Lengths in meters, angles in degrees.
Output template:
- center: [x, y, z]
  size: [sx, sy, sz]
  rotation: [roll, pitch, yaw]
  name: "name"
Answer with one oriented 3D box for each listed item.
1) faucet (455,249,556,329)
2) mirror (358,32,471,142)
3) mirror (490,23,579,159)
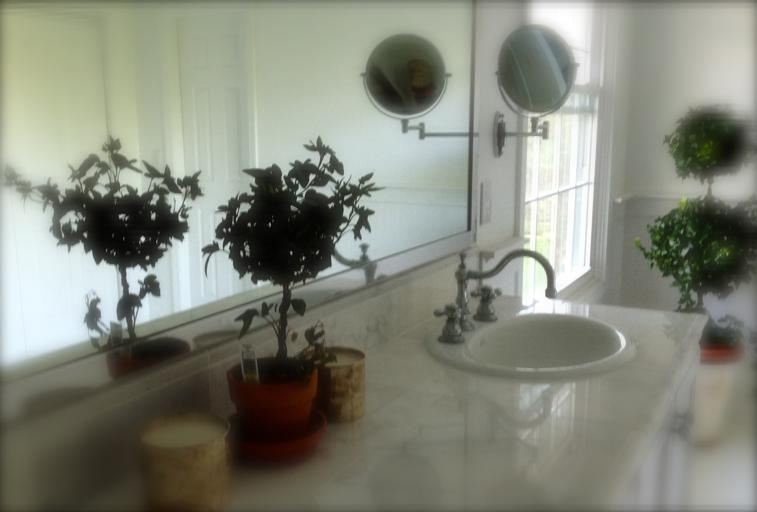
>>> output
- center: [0.316, 0.084, 1.517]
  size: [0.275, 0.261, 0.086]
  rotation: [5, 24, 25]
  name: "faucet"
- center: [0.060, -0.342, 1.219]
  size: [0.152, 0.204, 0.104]
  rotation: [0, 15, -2]
  name: "mirror"
- center: [0.371, -0.451, 1.447]
  size: [0.068, 0.213, 0.222]
  rotation: [-13, 18, -32]
  name: "mirror"
